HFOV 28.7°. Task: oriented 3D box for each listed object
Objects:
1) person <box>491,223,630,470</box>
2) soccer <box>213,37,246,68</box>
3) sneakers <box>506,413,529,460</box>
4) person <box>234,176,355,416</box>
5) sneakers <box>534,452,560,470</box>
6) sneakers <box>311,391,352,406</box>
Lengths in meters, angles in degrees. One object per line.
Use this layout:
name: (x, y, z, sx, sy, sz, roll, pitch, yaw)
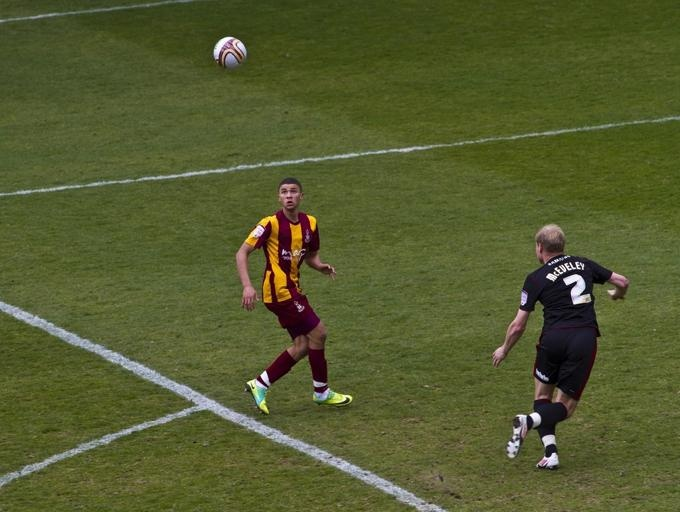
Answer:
person: (2.277, 0.934, 13.338, 0.967, 2.404, 1.060, 8, 16, 9)
soccer: (-1.582, -3.011, 19.634, 0.438, 0.438, 0.388, 2, 14, -8)
sneakers: (1.801, 1.819, 13.155, 0.188, 0.468, 0.175, 7, 16, 5)
person: (-0.465, 0.439, 14.179, 1.262, 2.542, 0.800, 4, 16, -5)
sneakers: (2.128, 2.069, 13.311, 0.147, 0.094, 0.273, -1, -1, -29)
sneakers: (-0.044, 1.537, 14.307, 0.507, 0.148, 0.151, -1, 11, -4)
